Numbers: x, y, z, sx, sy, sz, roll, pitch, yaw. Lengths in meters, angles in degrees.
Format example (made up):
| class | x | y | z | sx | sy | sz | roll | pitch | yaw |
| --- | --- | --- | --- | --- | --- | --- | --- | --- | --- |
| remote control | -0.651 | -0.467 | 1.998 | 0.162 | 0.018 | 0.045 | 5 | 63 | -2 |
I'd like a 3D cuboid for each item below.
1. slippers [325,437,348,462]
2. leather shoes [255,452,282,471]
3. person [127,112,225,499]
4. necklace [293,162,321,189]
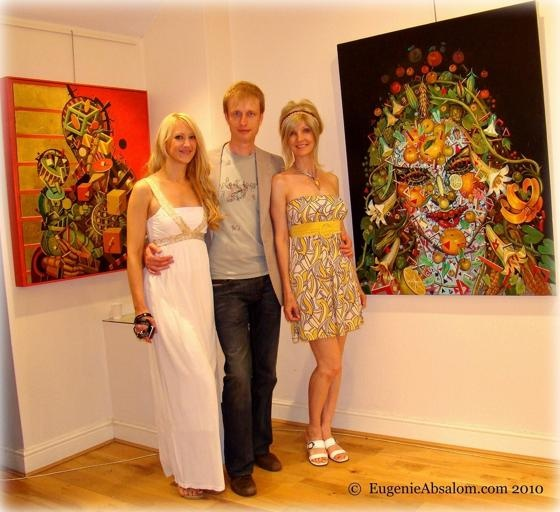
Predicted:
| class | x | y | z | sx | sy | sz | roll | pitch | yaw |
| --- | --- | --- | --- | --- | --- | --- | --- | --- | --- |
| slippers | 0.314 | 1.081 | 2.768 | 0.059 | 0.071 | 0.168 | -6 | 1 | -22 |
| leather shoes | -0.052 | 1.121 | 2.730 | 0.060 | 0.114 | 0.153 | -8 | -1 | -41 |
| person | -0.507 | 0.228 | 2.468 | 0.460 | 1.843 | 0.436 | -1 | 8 | 5 |
| necklace | 0.148 | -0.453 | 2.734 | 0.104 | 0.191 | 0.029 | -7 | -28 | -42 |
